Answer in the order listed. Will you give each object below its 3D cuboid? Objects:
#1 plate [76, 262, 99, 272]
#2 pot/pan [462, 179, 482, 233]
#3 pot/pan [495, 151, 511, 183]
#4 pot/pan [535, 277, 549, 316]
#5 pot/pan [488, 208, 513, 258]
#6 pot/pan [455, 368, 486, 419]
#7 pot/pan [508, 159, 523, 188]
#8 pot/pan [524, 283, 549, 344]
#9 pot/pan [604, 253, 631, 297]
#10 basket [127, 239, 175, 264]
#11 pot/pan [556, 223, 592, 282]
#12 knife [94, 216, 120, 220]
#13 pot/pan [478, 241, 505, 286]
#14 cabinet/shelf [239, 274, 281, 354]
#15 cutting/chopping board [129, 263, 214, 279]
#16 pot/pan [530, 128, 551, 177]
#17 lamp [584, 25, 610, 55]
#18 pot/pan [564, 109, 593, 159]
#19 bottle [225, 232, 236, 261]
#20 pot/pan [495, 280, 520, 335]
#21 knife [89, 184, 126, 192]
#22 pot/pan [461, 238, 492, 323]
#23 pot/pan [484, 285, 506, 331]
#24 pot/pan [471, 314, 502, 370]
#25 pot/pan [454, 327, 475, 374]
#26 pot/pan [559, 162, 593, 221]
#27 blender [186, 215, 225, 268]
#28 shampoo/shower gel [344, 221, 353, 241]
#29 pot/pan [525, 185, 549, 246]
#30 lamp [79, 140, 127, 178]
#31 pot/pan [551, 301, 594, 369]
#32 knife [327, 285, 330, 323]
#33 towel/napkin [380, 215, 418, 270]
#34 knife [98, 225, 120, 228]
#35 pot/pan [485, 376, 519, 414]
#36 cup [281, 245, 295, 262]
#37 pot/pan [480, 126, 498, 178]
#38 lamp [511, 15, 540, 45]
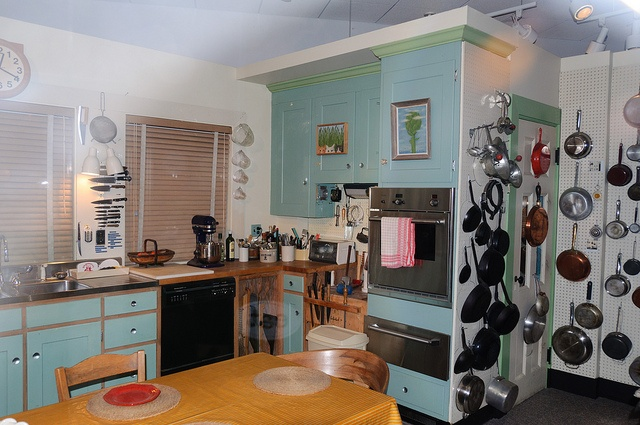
[{"bbox_3d":[-2.327,0.547,4.455,0.192,0.087,0.124,-2,3,-29],"label":"plate"},{"bbox_3d":[1.379,-0.055,4.030,0.234,0.474,0.067,-3,4,-41],"label":"pot/pan"},{"bbox_3d":[1.693,-0.418,4.111,0.192,0.250,0.080,-3,3,-30],"label":"pot/pan"},{"bbox_3d":[2.395,0.923,4.817,0.055,0.369,0.223,-8,-3,43],"label":"pot/pan"},{"bbox_3d":[1.698,0.204,4.205,0.249,0.431,0.062,5,-2,-42],"label":"pot/pan"},{"bbox_3d":[1.407,1.684,4.137,0.429,0.431,0.095,-4,4,-44],"label":"pot/pan"},{"bbox_3d":[1.838,-0.350,4.185,0.078,0.215,0.218,-2,-8,31],"label":"pot/pan"},{"bbox_3d":[2.271,1.057,4.774,0.090,0.624,0.377,0,1,39],"label":"pot/pan"},{"bbox_3d":[3.176,0.665,4.734,0.086,0.420,0.239,-1,3,-44],"label":"pot/pan"},{"bbox_3d":[-1.855,0.434,4.855,0.379,0.286,0.369,0,3,25],"label":"basket"},{"bbox_3d":[2.749,0.445,4.832,0.070,0.593,0.331,4,-3,-42],"label":"pot/pan"},{"bbox_3d":[-2.268,0.059,4.746,0.246,0.065,0.044,-2,3,-25],"label":"knife"},{"bbox_3d":[1.596,0.476,4.135,0.234,0.374,0.085,3,-1,-39],"label":"pot/pan"},{"bbox_3d":[-0.699,1.178,5.111,0.531,0.990,0.190,-3,3,-30],"label":"cabinet/shelf"},{"bbox_3d":[-1.567,0.616,4.681,0.757,0.075,0.554,-3,3,-33],"label":"cutting/chopping board"},{"bbox_3d":[2.280,-0.615,4.604,0.072,0.481,0.296,3,5,43],"label":"pot/pan"},{"bbox_3d":[3.032,-1.867,4.855,0.207,0.298,0.175,-3,3,-33],"label":"lamp"},{"bbox_3d":[2.780,-0.853,4.836,0.071,0.482,0.284,4,-2,-35],"label":"pot/pan"},{"bbox_3d":[-1.092,0.423,5.340,0.123,0.327,0.174,-3,3,-33],"label":"bottle"},{"bbox_3d":[1.778,0.897,4.269,0.078,0.511,0.293,-2,2,42],"label":"pot/pan"},{"bbox_3d":[-2.268,-0.253,4.734,0.332,0.073,0.024,-3,3,-37],"label":"knife"},{"bbox_3d":[1.390,0.641,4.058,0.106,0.691,0.370,-8,-2,40],"label":"pot/pan"},{"bbox_3d":[1.653,0.911,4.225,0.232,0.379,0.064,0,0,-41],"label":"pot/pan"},{"bbox_3d":[1.527,1.223,4.135,0.290,0.433,0.078,-2,1,-38],"label":"pot/pan"},{"bbox_3d":[1.290,1.240,4.019,0.056,0.379,0.236,-9,-9,43],"label":"pot/pan"},{"bbox_3d":[2.789,-0.203,4.849,0.082,0.577,0.341,4,-2,-41],"label":"pot/pan"},{"bbox_3d":[-1.334,0.322,5.163,0.400,0.568,0.532,-2,3,-15],"label":"blender"},{"bbox_3d":[0.348,0.224,5.469,0.132,0.224,0.044,0,3,26],"label":"shampoo/shower gel"},{"bbox_3d":[2.248,0.030,4.634,0.376,0.609,0.073,0,4,-44],"label":"pot/pan"},{"bbox_3d":[-2.260,-0.543,4.614,0.392,0.325,0.267,-2,3,-29],"label":"lamp"},{"bbox_3d":[2.767,1.343,4.899,0.386,0.659,0.098,1,-2,42],"label":"pot/pan"},{"bbox_3d":[0.087,0.992,4.802,0.045,0.395,0.050,-1,3,-5],"label":"knife"},{"bbox_3d":[0.678,0.269,4.064,0.340,0.437,0.113,0,-1,36],"label":"towel/napkin"},{"bbox_3d":[-2.260,0.147,4.750,0.195,0.042,0.010,-3,3,-34],"label":"knife"},{"bbox_3d":[1.759,1.807,4.321,0.281,0.399,0.206,-3,4,-43],"label":"pot/pan"},{"bbox_3d":[-0.392,0.503,5.430,0.156,0.191,0.119,-1,3,-5],"label":"cup"},{"bbox_3d":[1.548,-0.569,4.100,0.094,0.377,0.296,-8,-6,15],"label":"pot/pan"},{"bbox_3d":[2.125,-1.882,4.635,0.202,0.305,0.264,1,3,34],"label":"lamp"}]
